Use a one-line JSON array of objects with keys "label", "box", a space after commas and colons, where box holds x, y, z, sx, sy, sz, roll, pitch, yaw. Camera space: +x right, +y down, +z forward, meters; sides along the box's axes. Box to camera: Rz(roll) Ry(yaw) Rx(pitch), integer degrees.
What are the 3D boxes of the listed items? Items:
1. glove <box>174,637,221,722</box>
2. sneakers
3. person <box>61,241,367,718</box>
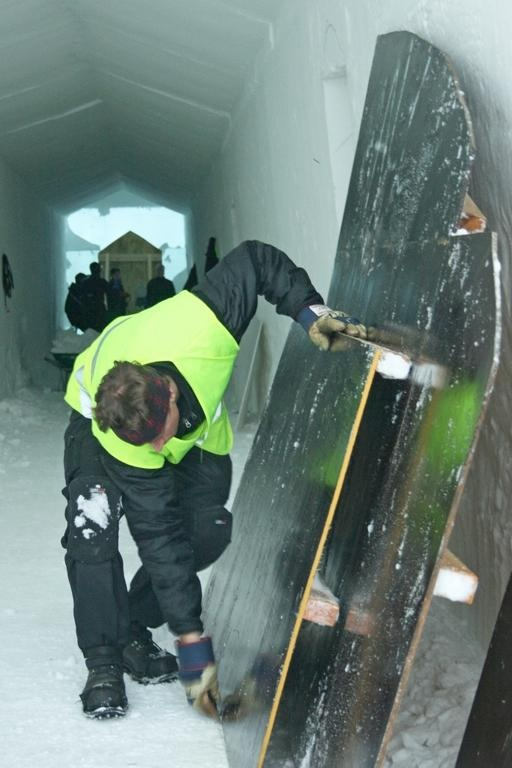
[{"label": "glove", "box": [-0.133, 0.668, 1.865, 0.090, 0.210, 0.100, 0, 10, 4]}, {"label": "sneakers", "box": [-0.301, 0.707, 1.936, 0.102, 0.120, 0.267, 3, -9, -32]}, {"label": "person", "box": [-0.159, 0.197, 2.059, 0.670, 1.111, 0.637, -3, 10, -14]}]
